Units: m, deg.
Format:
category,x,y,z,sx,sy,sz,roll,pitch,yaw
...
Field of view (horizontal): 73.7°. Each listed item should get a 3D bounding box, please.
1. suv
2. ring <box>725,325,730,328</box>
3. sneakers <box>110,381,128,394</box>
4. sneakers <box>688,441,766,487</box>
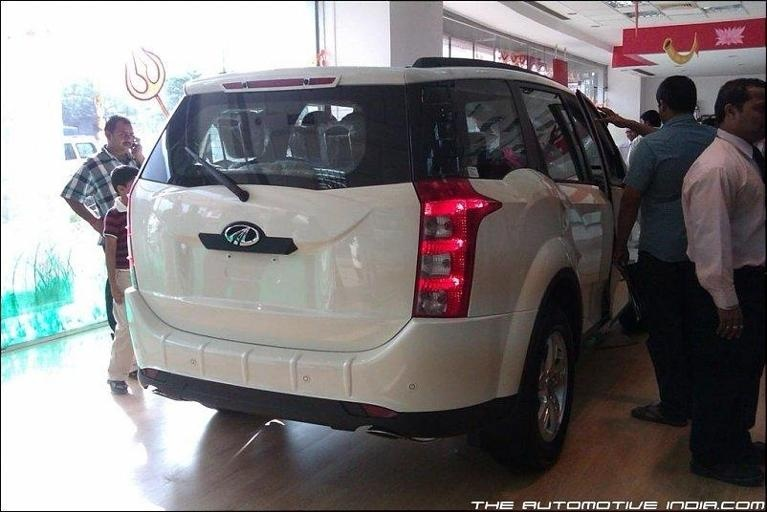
category,x,y,z,sx,sy,sz,roll,pitch,yaw
suv,0.562,-0.265,4.285,2.852,1.935,4.567,5,12,34
ring,1.749,0.356,2.604,0.013,0.010,0.013,-1,-1,0
sneakers,-1.947,0.970,3.780,0.115,0.104,0.089,-7,0,-25
sneakers,1.828,1.158,2.875,0.476,0.193,0.176,-3,0,24
